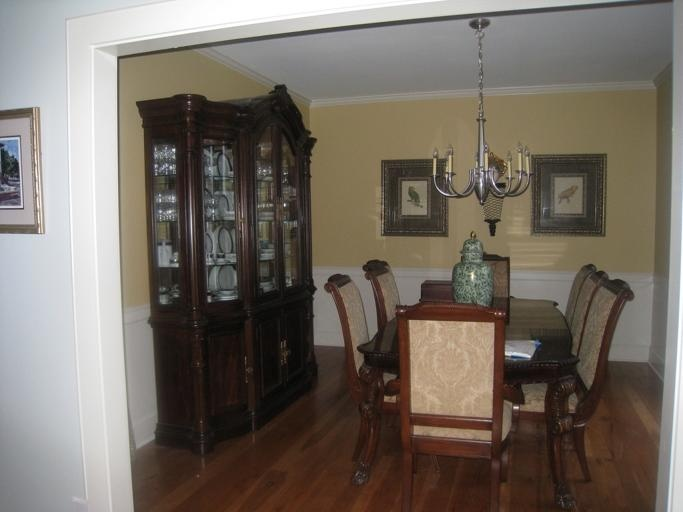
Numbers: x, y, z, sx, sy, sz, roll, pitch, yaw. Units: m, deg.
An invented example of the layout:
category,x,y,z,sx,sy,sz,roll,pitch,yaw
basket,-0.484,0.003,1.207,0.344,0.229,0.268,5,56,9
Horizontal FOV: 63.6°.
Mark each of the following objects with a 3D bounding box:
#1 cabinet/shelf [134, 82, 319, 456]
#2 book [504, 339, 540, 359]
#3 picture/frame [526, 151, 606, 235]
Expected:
category,x,y,z,sx,sy,sz,roll,pitch,yaw
cabinet/shelf,-0.867,-0.021,4.537,0.735,2.735,1.560,6,12,31
book,1.144,0.586,3.483,0.209,0.031,0.336,3,11,19
picture/frame,2.437,-0.688,5.875,0.803,1.055,0.074,0,1,12
